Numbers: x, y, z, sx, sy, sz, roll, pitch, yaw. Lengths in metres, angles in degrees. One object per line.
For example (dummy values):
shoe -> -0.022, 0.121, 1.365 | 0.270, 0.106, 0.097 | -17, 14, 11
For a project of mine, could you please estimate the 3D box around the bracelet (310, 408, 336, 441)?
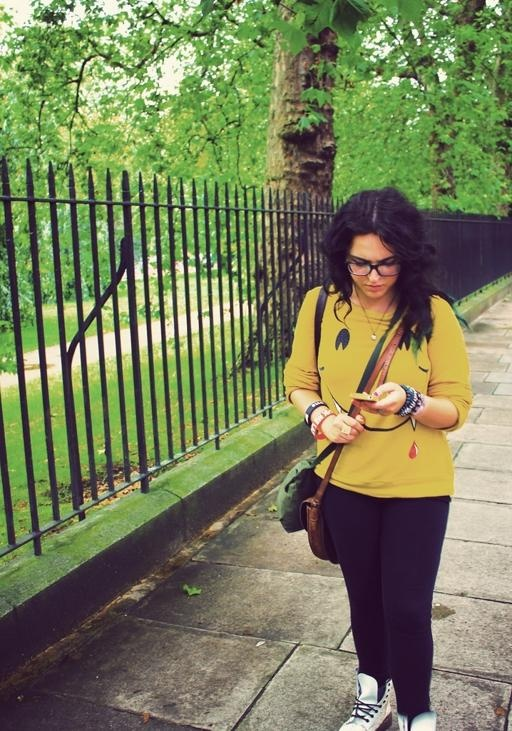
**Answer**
bracelet -> 0.181, 0.159, 1.819 | 0.068, 0.087, 0.034 | -1, -3, 42

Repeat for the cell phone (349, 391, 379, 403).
cell phone -> 0.260, 0.078, 1.594 | 0.059, 0.024, 0.065 | -2, 7, 6

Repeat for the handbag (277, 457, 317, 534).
handbag -> 0.099, 0.371, 1.940 | 0.077, 0.196, 0.128 | 9, -10, 37

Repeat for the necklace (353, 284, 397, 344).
necklace -> 0.304, -0.138, 1.764 | 0.104, 0.133, 0.057 | 9, 3, 8

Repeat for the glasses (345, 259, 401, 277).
glasses -> 0.302, -0.251, 1.733 | 0.128, 0.055, 0.049 | -1, 8, 10
